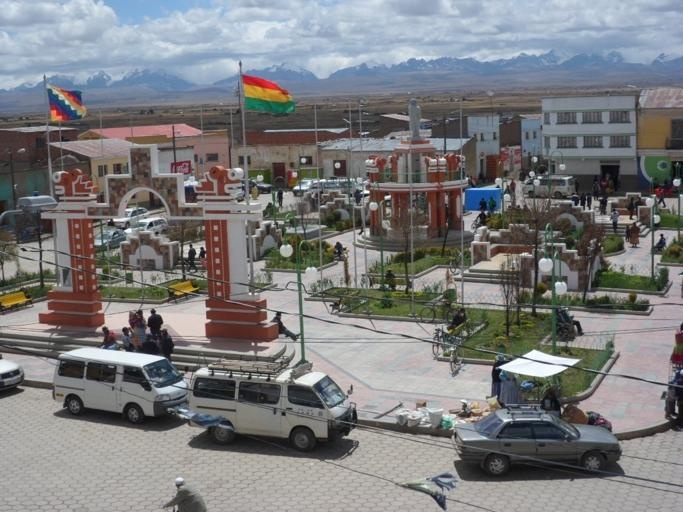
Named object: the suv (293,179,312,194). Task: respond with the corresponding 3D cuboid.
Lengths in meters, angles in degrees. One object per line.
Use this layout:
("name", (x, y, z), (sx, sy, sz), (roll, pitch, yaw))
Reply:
("suv", (-2.871, -5.437, 78.398), (1.258, 1.177, 2.446), (-2, 3, 17))

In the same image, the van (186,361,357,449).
("van", (-2.290, 4.809, 32.785), (4.760, 2.593, 0.922), (0, 6, 17))

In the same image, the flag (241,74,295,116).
("flag", (-3.138, -6.733, 42.368), (1.973, 1.533, 1.019), (-2, 5, -5))

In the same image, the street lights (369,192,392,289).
("street lights", (2.153, -1.564, 57.995), (0.964, 4.769, 0.829), (-1, 7, 26))

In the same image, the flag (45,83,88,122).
("flag", (-13.058, -7.272, 48.298), (1.531, 1.703, 4.353), (-3, 5, -16))

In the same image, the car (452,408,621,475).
("car", (5.831, 5.632, 31.148), (4.153, 1.447, 2.193), (-3, 11, 3))

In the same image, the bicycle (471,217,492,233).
("bicycle", (8.304, -1.909, 61.940), (0.692, 0.796, 1.389), (0, 2, 4))

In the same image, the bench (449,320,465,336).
("bench", (4.554, 2.795, 39.981), (0.427, 0.434, 0.556), (-8, -19, -36))

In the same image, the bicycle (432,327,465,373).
("bicycle", (3.945, 3.467, 38.721), (0.936, 1.077, 1.865), (3, 10, 14))

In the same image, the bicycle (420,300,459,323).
("bicycle", (4.094, 2.316, 43.584), (1.467, 0.842, 0.765), (2, 8, 11))

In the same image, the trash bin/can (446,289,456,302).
("trash bin/can", (4.810, 1.716, 45.193), (0.517, 0.552, 0.511), (-2, 10, -8))

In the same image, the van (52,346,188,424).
("van", (-7.541, 4.266, 35.397), (4.307, 1.859, 2.225), (4, 9, 19))

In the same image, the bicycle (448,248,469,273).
("bicycle", (5.837, 0.198, 53.064), (0.772, 0.930, 1.574), (1, 5, 27))

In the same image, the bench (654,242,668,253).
("bench", (16.745, -0.500, 54.115), (0.849, 0.351, 0.558), (-7, 4, -35))
